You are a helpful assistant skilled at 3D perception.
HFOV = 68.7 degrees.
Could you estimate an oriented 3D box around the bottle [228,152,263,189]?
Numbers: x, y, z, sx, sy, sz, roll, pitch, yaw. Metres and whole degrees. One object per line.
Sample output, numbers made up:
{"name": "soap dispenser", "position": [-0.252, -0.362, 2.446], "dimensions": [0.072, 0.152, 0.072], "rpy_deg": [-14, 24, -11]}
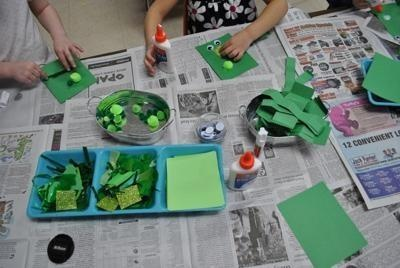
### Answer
{"name": "bottle", "position": [0.169, 0.143, 1.076], "dimensions": [0.106, 0.169, 0.057], "rpy_deg": [-16, 61, -11]}

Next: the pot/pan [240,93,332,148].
{"name": "pot/pan", "position": [0.265, -0.069, 1.086], "dimensions": [0.348, 0.095, 0.209], "rpy_deg": [12, 62, -2]}
